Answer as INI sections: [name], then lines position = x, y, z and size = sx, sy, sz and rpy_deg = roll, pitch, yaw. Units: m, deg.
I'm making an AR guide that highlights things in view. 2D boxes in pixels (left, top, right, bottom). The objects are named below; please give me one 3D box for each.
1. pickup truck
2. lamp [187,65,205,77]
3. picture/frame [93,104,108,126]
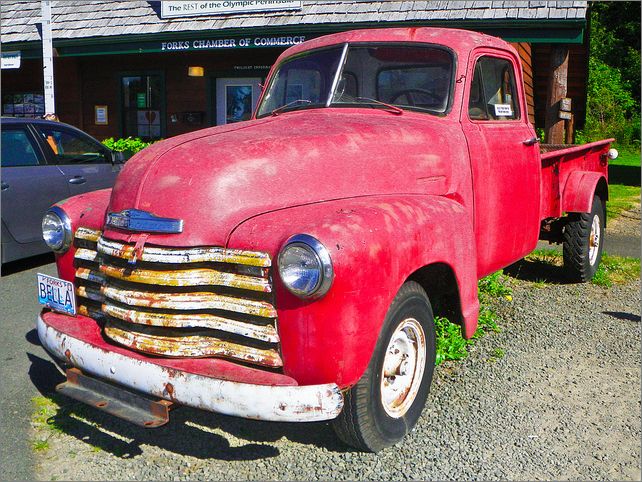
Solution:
[pickup truck]
position = 0.459, -0.331, 4.877
size = 2.191, 2.040, 4.713
rpy_deg = 5, 11, 40
[lamp]
position = -2.774, -3.787, 12.781
size = 0.239, 0.193, 0.250
rpy_deg = 1, 10, 7
[picture/frame]
position = -5.366, -3.093, 13.935
size = 0.443, 0.614, 0.043
rpy_deg = 6, 11, 25
